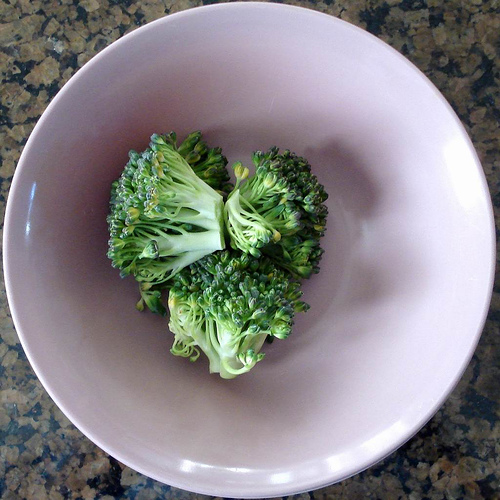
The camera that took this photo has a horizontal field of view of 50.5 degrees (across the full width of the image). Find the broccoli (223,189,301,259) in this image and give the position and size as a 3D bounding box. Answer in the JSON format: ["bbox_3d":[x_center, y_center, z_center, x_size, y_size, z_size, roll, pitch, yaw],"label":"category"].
[{"bbox_3d":[-0.005,-0.054,1.357,0.184,0.110,0.174,40,37,3],"label":"broccoli"}]

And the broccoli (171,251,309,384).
[{"bbox_3d":[-0.030,0.176,1.381,0.251,0.278,0.278,17,4,-30],"label":"broccoli"}]

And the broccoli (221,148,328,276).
[{"bbox_3d":[0.063,-0.093,1.362,0.214,0.226,0.229,46,51,13],"label":"broccoli"}]
